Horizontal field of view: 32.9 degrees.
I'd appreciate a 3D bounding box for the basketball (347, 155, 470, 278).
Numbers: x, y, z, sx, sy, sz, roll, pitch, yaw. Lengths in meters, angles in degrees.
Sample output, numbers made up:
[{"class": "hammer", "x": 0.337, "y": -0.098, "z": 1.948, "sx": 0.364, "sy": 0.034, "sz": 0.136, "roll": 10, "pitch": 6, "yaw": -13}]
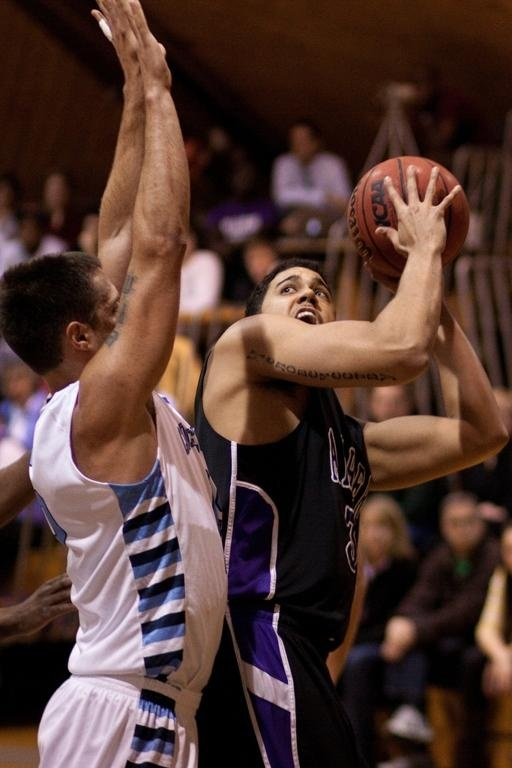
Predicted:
[{"class": "basketball", "x": 0.334, "y": -0.388, "z": 2.225, "sx": 0.328, "sy": 0.349, "sz": 0.307, "roll": -1, "pitch": 0, "yaw": 6}]
